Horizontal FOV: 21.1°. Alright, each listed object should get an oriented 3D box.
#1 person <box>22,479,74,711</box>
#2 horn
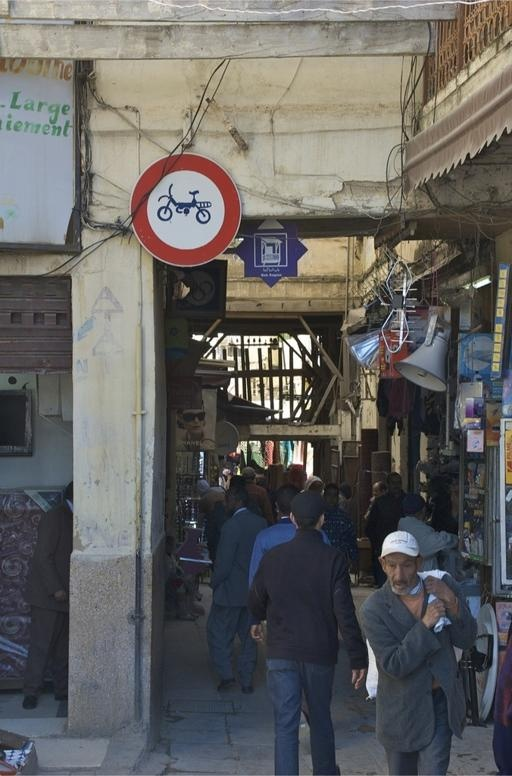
[{"bbox_3d":[-1.363,1.384,9.170,0.464,1.331,0.466,7,5,10],"label":"person"},{"bbox_3d":[1.155,-0.244,9.506,0.285,0.544,0.363,0,3,-2],"label":"horn"}]
